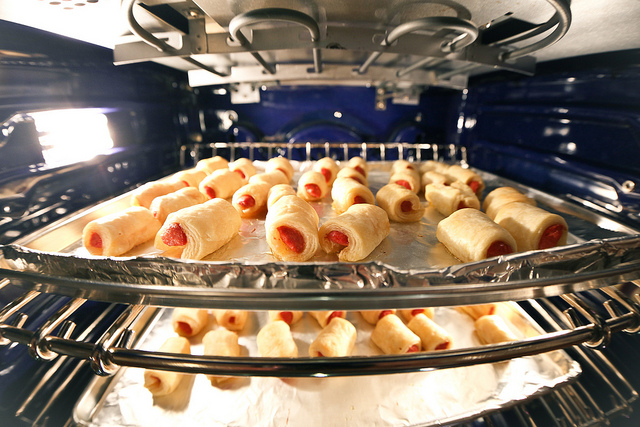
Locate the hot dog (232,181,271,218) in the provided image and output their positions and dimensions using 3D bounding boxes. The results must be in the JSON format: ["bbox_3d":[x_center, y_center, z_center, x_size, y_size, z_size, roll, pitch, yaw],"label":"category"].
[{"bbox_3d":[-0.630,-0.158,3.262,0.320,0.611,0.237,4,-68,-9],"label":"hot dog"}]

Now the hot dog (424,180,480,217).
[{"bbox_3d":[1.122,-0.160,3.226,0.350,0.450,0.160,-14,-63,-25],"label":"hot dog"}]

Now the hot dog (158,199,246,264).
[{"bbox_3d":[-0.829,0.084,2.616,0.391,0.573,0.274,21,-63,22],"label":"hot dog"}]

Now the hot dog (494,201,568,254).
[{"bbox_3d":[1.505,0.087,2.713,0.348,0.440,0.294,-17,-67,-14],"label":"hot dog"}]

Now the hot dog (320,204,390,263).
[{"bbox_3d":[0.250,0.107,2.652,0.372,0.471,0.268,4,-70,26],"label":"hot dog"}]

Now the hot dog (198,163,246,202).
[{"bbox_3d":[-0.873,-0.265,3.284,0.187,0.374,0.140,-25,-73,5],"label":"hot dog"}]

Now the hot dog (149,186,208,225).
[{"bbox_3d":[-1.101,-0.109,2.852,0.405,0.242,0.139,-27,-54,-33],"label":"hot dog"}]

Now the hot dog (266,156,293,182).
[{"bbox_3d":[-0.417,-0.487,3.832,0.277,0.261,0.198,3,-70,3],"label":"hot dog"}]

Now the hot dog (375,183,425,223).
[{"bbox_3d":[0.654,-0.094,3.068,0.312,0.416,0.242,-8,-66,-9],"label":"hot dog"}]

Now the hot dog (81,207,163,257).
[{"bbox_3d":[-1.409,0.122,2.651,0.360,0.443,0.238,-6,-75,31],"label":"hot dog"}]

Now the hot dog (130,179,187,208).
[{"bbox_3d":[-1.324,-0.169,3.050,0.376,0.214,0.140,-21,-53,-32],"label":"hot dog"}]

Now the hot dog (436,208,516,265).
[{"bbox_3d":[1.058,0.126,2.506,0.357,0.414,0.243,-15,-63,-11],"label":"hot dog"}]
